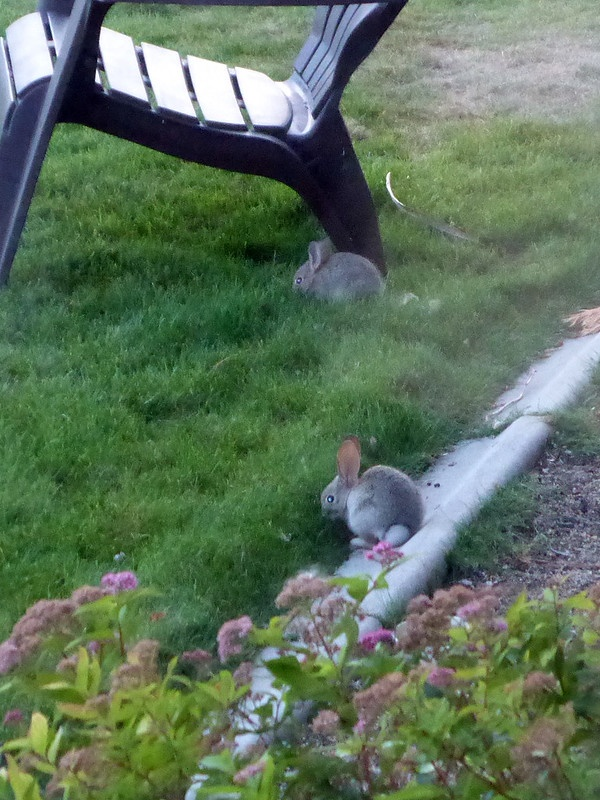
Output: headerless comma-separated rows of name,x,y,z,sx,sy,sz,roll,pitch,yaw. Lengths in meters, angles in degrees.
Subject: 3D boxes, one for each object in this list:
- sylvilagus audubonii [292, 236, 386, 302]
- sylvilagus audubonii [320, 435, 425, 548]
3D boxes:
sylvilagus audubonii,0.171,-0.568,7.258,0.327,0.326,0.233,8,20,23
sylvilagus audubonii,0.227,0.316,5.592,0.292,0.404,0.207,1,-4,11
